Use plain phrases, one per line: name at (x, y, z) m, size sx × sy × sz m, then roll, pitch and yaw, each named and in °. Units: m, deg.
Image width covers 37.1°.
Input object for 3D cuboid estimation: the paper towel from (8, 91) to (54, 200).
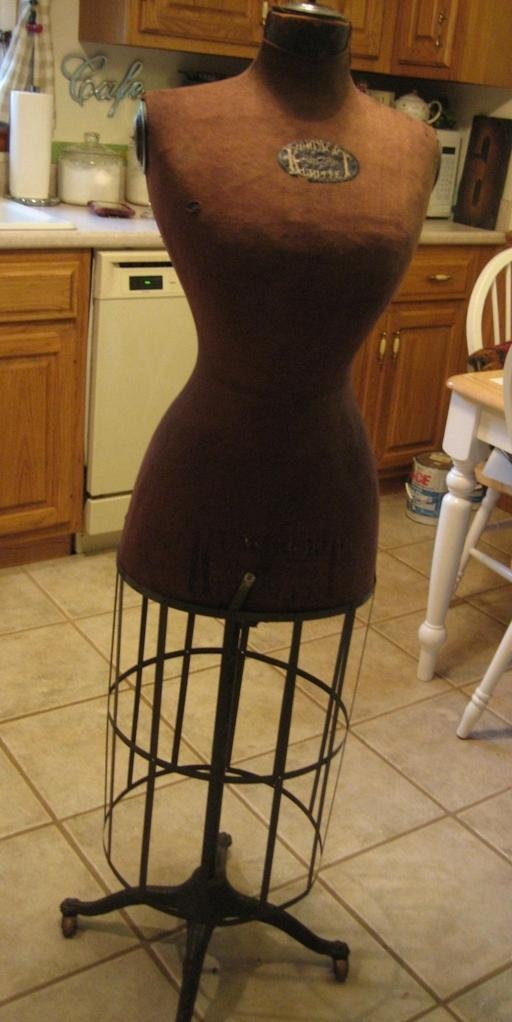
paper towel at (-0.645, -1.048, 2.209) m, size 0.112 × 0.291 × 0.096 m, roll -3°, pitch 29°, yaw -21°
